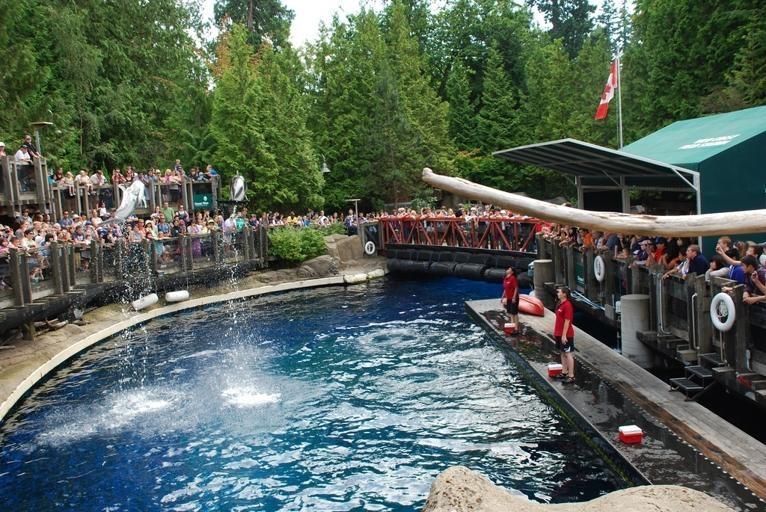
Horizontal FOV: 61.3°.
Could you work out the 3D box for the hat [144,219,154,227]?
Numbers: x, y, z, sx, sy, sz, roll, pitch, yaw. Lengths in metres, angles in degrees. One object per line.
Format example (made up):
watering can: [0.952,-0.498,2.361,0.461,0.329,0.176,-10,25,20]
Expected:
hat: [-10.729,-1.517,29.567,0.325,0.136,0.407,3,-19,-14]

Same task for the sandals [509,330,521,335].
sandals: [4.619,2.649,22.580,0.359,0.125,0.124,1,1,-11]

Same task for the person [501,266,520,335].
person: [4.544,1.419,23.084,0.534,2.247,1.379,-2,10,10]

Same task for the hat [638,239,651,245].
hat: [7.890,-0.425,19.398,0.255,0.088,0.183,-5,6,-8]

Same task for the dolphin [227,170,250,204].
dolphin: [-8.167,-3.847,35.866,1.044,1.933,1.176,3,5,4]

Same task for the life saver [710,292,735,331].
life saver: [8.231,1.321,15.632,0.207,0.972,0.697,-7,11,-17]

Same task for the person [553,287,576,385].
person: [5.221,2.145,18.542,0.521,2.632,1.156,-1,11,15]

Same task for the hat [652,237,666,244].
hat: [8.110,-0.463,19.029,0.328,0.139,0.452,3,6,24]
